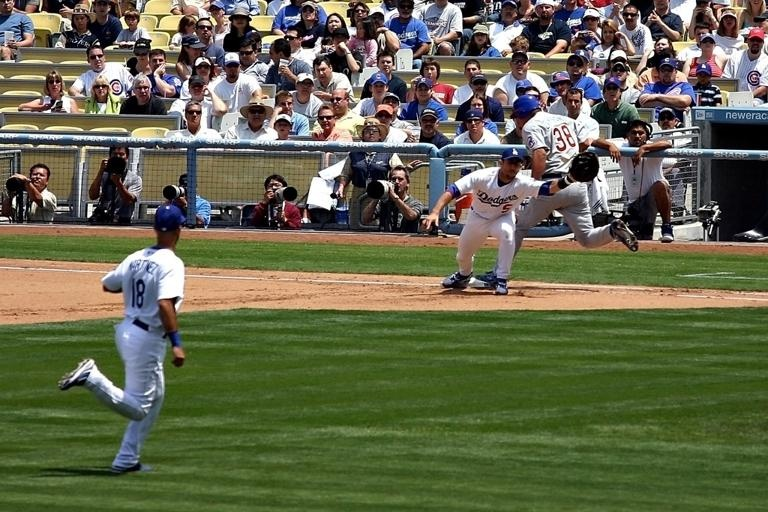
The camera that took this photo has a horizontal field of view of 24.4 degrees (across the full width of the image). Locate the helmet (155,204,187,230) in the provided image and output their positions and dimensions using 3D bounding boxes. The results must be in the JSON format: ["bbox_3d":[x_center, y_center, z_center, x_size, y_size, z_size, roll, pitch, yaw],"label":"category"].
[{"bbox_3d":[-2.401,-0.438,19.907,0.273,0.183,0.324,1,41,3],"label":"helmet"}]

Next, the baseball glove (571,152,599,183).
[{"bbox_3d":[2.534,-1.164,23.167,0.363,0.376,0.216,2,4,3],"label":"baseball glove"}]

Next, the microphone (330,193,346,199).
[{"bbox_3d":[-0.734,-0.932,27.709,0.128,0.107,0.264,5,5,39],"label":"microphone"}]

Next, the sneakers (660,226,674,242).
[{"bbox_3d":[4.189,-0.329,26.838,0.219,0.238,0.165,1,4,-18],"label":"sneakers"}]

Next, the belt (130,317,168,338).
[{"bbox_3d":[-2.593,0.796,19.733,0.330,0.091,0.234,15,13,-42],"label":"belt"}]

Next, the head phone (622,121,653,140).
[{"bbox_3d":[3.759,-1.898,26.811,0.338,0.166,0.360,2,3,3],"label":"head phone"}]

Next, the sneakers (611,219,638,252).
[{"bbox_3d":[3.303,-0.312,24.941,0.557,0.186,0.223,42,-16,-12],"label":"sneakers"}]

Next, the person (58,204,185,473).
[{"bbox_3d":[-2.783,1.142,19.742,1.090,2.475,0.472,2,4,-7],"label":"person"}]

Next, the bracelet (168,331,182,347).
[{"bbox_3d":[-2.323,0.909,19.733,0.145,0.183,0.224,2,4,-7],"label":"bracelet"}]

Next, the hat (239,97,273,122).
[{"bbox_3d":[-2.066,-2.342,28.591,0.457,0.107,0.407,1,-22,-9],"label":"hat"}]

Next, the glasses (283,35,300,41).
[{"bbox_3d":[-1.611,-3.731,30.477,0.249,0.065,0.234,3,4,20],"label":"glasses"}]

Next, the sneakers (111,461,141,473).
[{"bbox_3d":[-2.835,2.336,19.725,0.375,0.121,0.111,1,10,-7],"label":"sneakers"}]

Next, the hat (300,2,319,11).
[{"bbox_3d":[-1.355,-4.438,31.705,0.398,0.122,0.456,2,-1,7],"label":"hat"}]
